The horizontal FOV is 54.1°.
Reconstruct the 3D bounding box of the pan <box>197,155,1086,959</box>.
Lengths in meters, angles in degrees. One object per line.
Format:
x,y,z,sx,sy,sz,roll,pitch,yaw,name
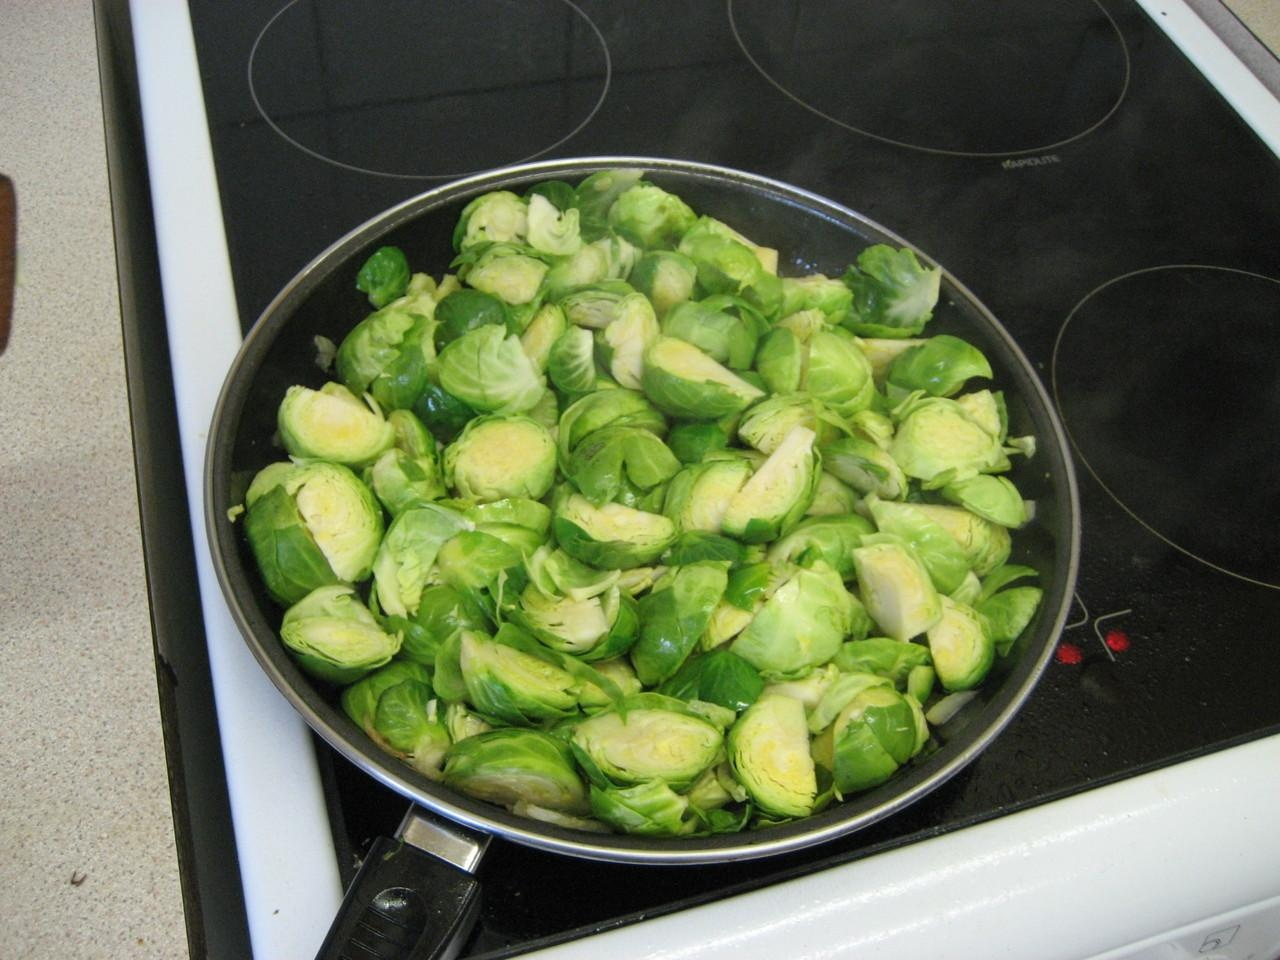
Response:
0.003,0.042,1.401,0.974,0.167,1.012,-13,63,-9,pan
